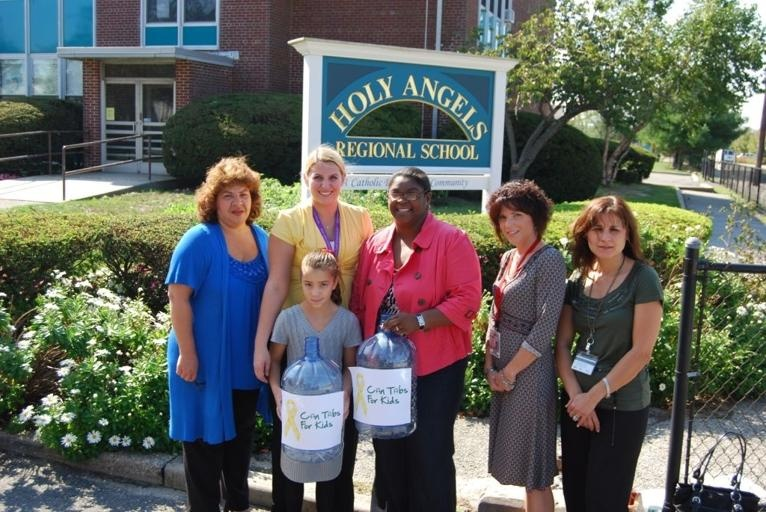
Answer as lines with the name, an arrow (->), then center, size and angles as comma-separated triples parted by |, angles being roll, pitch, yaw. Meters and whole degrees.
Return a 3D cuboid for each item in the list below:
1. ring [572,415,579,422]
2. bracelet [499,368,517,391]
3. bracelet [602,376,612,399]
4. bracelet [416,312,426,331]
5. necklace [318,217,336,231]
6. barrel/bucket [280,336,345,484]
ring -> 1.474, 1.254, 5.061 | 0.013, 0.034, 0.042 | -7, 3, -16
bracelet -> 0.980, 0.972, 5.186 | 0.128, 0.177, 0.143 | 1, -16, 5
bracelet -> 1.679, 1.015, 4.986 | 0.043, 0.124, 0.109 | -4, -7, 11
bracelet -> 0.287, 0.493, 4.932 | 0.063, 0.117, 0.105 | -12, 0, -19
necklace -> -0.424, -0.246, 5.301 | 0.085, 0.091, 0.022 | 3, -20, -19
barrel/bucket -> -0.537, 1.204, 5.034 | 0.465, 1.175, 0.328 | 0, 6, -10
